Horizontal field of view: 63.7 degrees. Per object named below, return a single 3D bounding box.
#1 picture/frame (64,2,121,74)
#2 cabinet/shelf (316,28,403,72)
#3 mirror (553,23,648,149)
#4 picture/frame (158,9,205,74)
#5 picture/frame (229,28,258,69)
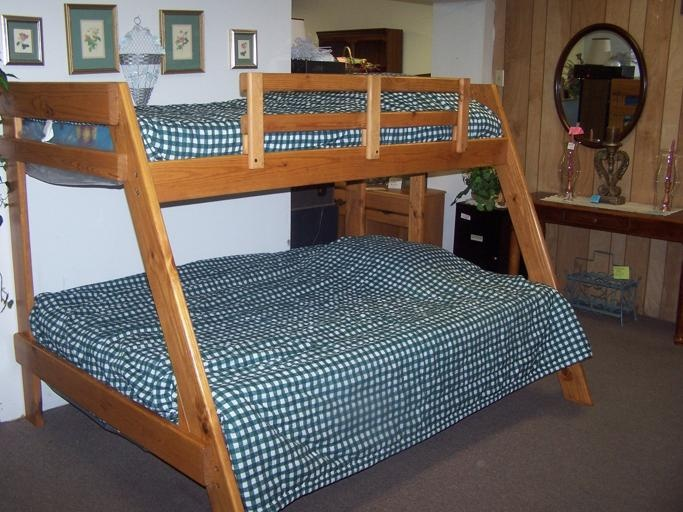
[{"bbox_3d":[-1.268,-1.104,2.807,0.290,0.334,0.032,-19,25,-41],"label":"picture/frame"},{"bbox_3d":[0.262,-2.755,7.369,1.158,0.560,0.211,7,21,25],"label":"cabinet/shelf"},{"bbox_3d":[1.949,-1.284,4.079,0.049,1.064,0.844,-7,15,-38],"label":"mirror"},{"bbox_3d":[-0.901,-1.218,3.128,0.071,0.340,0.316,12,23,34],"label":"picture/frame"},{"bbox_3d":[-0.612,-1.279,3.378,0.030,0.274,0.260,10,12,43],"label":"picture/frame"}]
